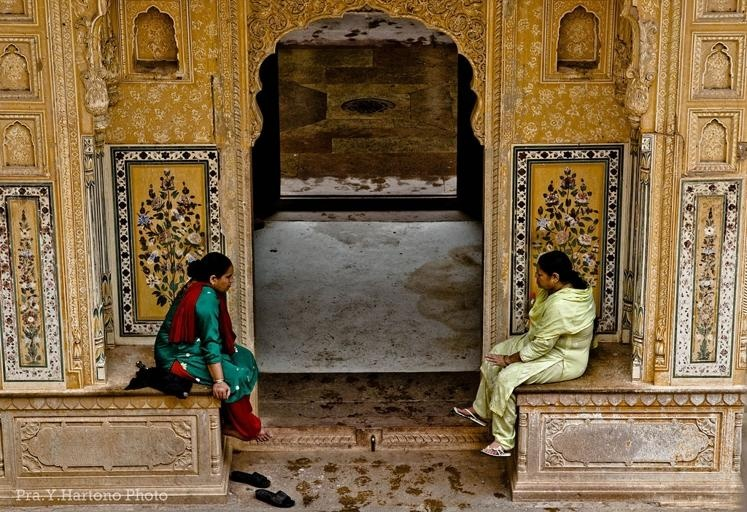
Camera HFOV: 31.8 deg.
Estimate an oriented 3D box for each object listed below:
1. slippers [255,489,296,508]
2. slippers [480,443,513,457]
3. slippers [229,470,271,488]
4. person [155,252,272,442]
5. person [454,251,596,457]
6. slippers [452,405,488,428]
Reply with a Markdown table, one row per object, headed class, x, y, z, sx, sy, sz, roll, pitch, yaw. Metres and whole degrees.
| class | x | y | z | sx | sy | sz | roll | pitch | yaw |
| --- | --- | --- | --- | --- | --- | --- | --- | --- | --- |
| slippers | -0.618 | 1.484 | 8.024 | 0.218 | 0.053 | 0.095 | 12 | 33 | 18 |
| slippers | 0.755 | 1.229 | 8.214 | 0.241 | 0.085 | 0.087 | 3 | 6 | -3 |
| slippers | -0.782 | 1.392 | 8.204 | 0.257 | 0.064 | 0.095 | 7 | 33 | 16 |
| person | -1.003 | 0.582 | 8.200 | 0.925 | 1.103 | 0.704 | 10 | 12 | 6 |
| person | 0.995 | 0.586 | 8.339 | 1.003 | 1.130 | 0.700 | -9 | 14 | -3 |
| slippers | 0.624 | 1.074 | 8.578 | 0.269 | 0.061 | 0.090 | 23 | 11 | -10 |
